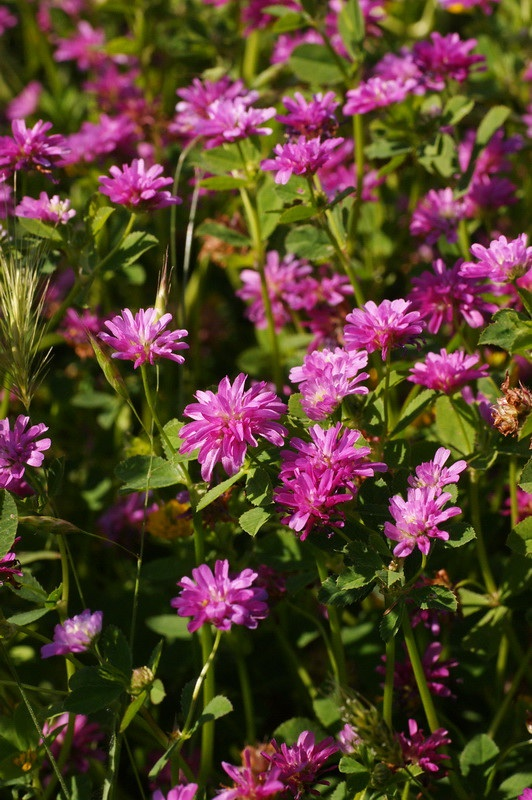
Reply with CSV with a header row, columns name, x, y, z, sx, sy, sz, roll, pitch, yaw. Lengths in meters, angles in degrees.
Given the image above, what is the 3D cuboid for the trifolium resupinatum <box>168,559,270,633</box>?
name,x,y,z,sx,sy,sz,roll,pitch,yaw
trifolium resupinatum,-0.062,0.209,0.879,0.117,0.044,0.112,-8,12,31
